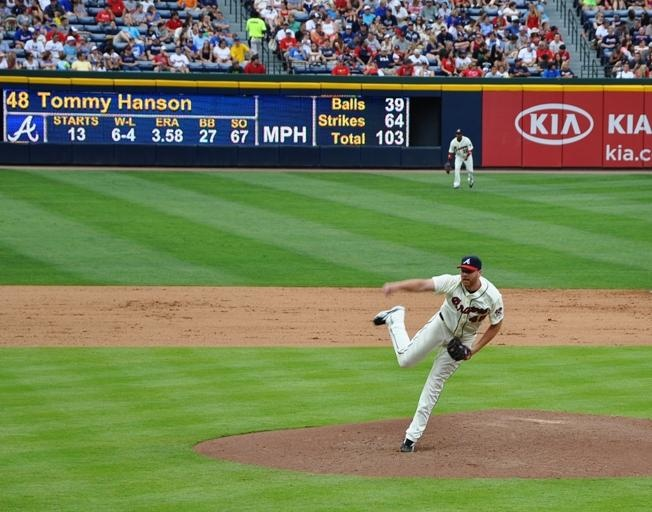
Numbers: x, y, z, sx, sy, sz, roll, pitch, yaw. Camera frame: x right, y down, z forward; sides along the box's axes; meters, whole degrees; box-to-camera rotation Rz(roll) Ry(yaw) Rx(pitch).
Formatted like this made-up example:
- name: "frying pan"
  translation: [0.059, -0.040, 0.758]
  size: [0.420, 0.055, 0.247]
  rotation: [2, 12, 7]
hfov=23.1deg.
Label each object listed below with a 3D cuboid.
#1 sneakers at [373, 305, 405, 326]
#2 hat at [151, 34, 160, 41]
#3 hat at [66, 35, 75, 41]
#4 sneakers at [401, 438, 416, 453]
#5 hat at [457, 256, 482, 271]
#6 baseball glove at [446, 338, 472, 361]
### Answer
- name: "sneakers"
  translation: [1.021, 0.974, 26.125]
  size: [0.606, 0.232, 0.229]
  rotation: [-22, -38, 15]
- name: "hat"
  translation: [-4.673, -6.101, 44.438]
  size: [0.223, 0.150, 0.345]
  rotation: [-1, 6, -1]
- name: "hat"
  translation: [-6.871, -5.910, 43.344]
  size: [0.233, 0.101, 0.152]
  rotation: [20, 34, 34]
- name: "sneakers"
  translation: [1.328, 2.971, 25.290]
  size: [0.243, 0.236, 0.207]
  rotation: [-1, 7, 2]
- name: "hat"
  translation: [2.325, 0.119, 25.067]
  size: [0.239, 0.151, 0.327]
  rotation: [5, 4, 31]
- name: "baseball glove"
  translation: [2.113, 1.480, 25.199]
  size: [0.295, 0.155, 0.394]
  rotation: [33, 3, -25]
